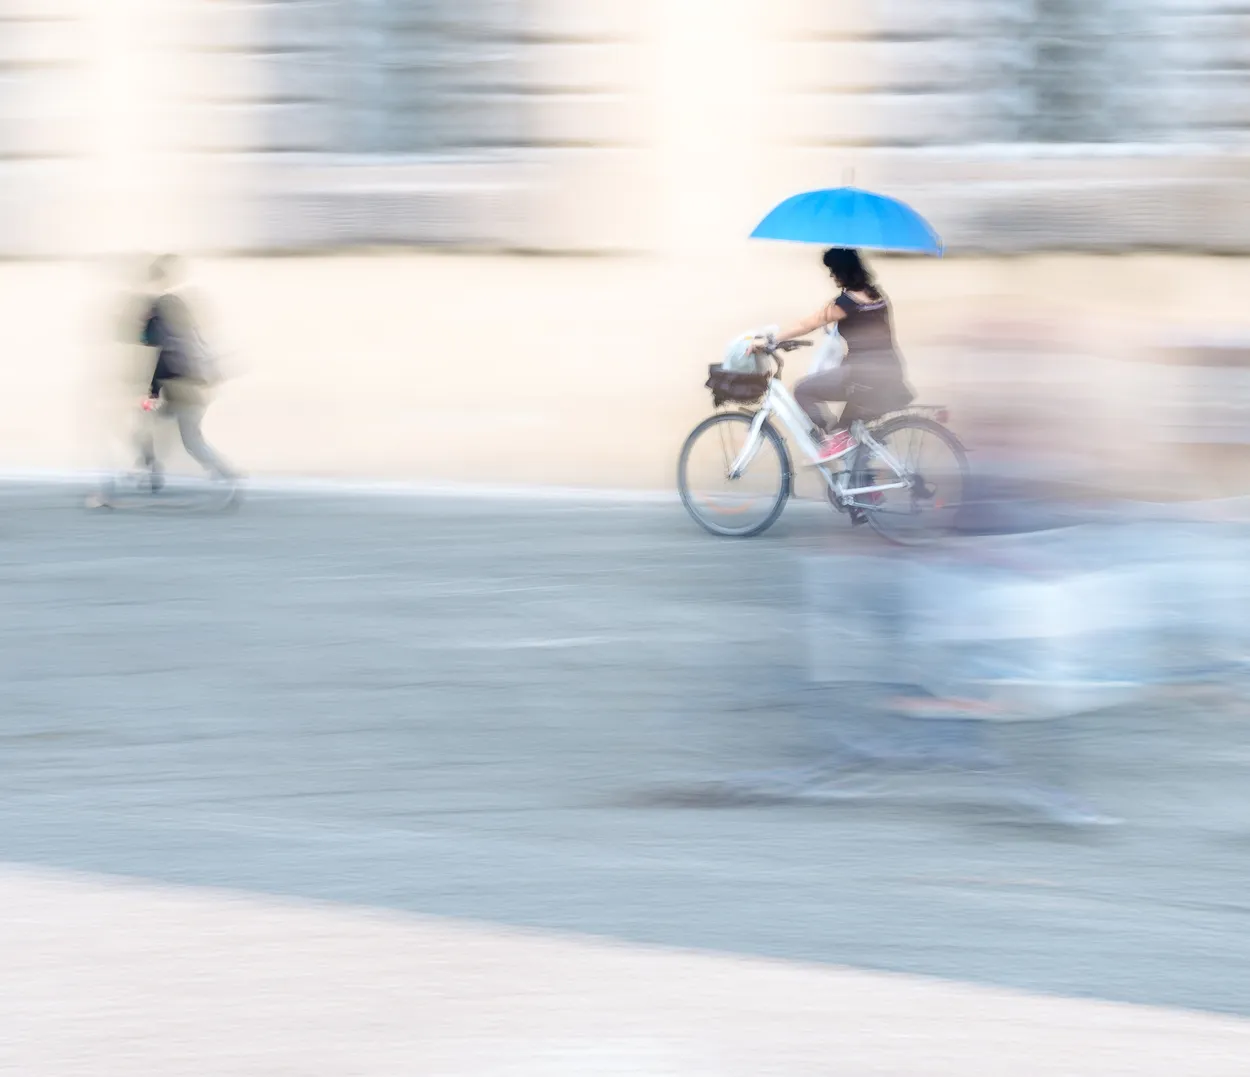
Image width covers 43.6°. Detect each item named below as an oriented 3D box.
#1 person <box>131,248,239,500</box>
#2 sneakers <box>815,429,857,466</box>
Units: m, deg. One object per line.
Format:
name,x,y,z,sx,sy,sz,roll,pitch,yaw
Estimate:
person,-2.877,-1.027,9.959,0.539,1.533,1.050,-7,16,-17
sneakers,1.124,-0.495,8.333,0.080,0.231,0.128,31,38,-45
